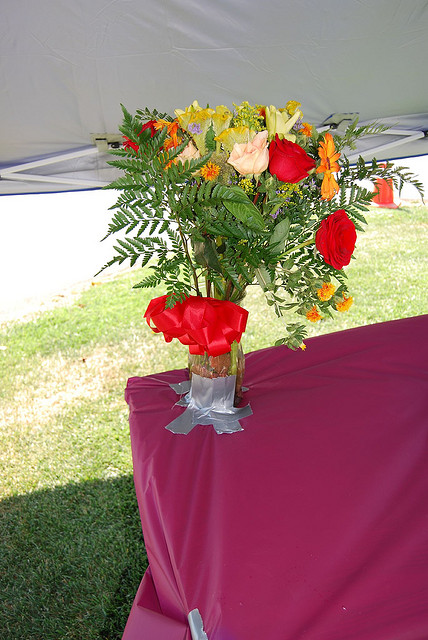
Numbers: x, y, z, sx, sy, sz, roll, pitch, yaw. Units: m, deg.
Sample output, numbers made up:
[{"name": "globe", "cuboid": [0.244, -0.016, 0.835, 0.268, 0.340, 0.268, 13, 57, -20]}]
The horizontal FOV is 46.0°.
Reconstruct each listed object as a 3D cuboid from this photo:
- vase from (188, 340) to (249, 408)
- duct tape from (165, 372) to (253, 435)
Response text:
[{"name": "vase", "cuboid": [0.002, 0.125, 1.191, 0.126, 0.167, 0.107, 5, -1, -44]}, {"name": "duct tape", "cuboid": [-0.004, 0.173, 1.203, 0.253, 0.085, 0.250, -4, 19, -17]}]
